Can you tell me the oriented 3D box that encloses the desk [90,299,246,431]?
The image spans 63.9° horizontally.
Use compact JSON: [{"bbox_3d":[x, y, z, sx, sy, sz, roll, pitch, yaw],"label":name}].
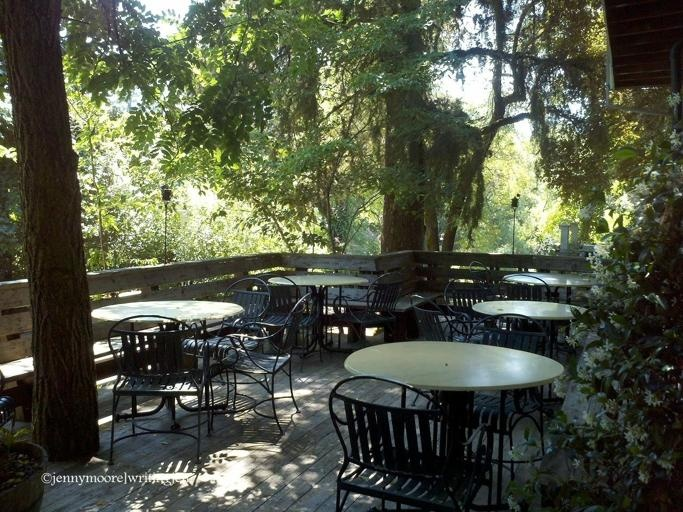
[{"bbox_3d":[-1.314,0.669,4.267,1.068,0.743,1.556,-1,6,-7],"label":"desk"}]
